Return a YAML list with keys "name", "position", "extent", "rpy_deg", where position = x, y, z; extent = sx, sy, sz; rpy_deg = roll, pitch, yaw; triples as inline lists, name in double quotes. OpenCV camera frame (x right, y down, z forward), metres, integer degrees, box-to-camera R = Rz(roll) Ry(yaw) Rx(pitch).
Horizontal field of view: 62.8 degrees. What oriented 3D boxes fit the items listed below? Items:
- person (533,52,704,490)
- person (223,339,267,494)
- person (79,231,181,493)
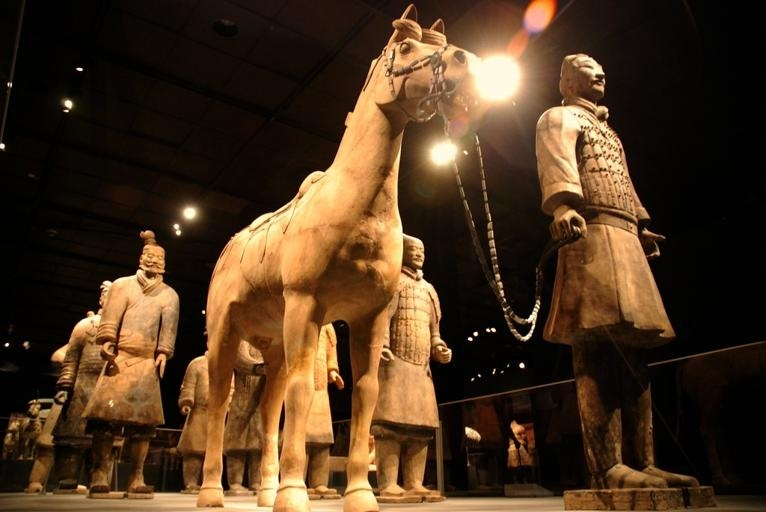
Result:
- name: "person"
  position: [1.774, 0.030, 5.038]
  extent: [0.913, 3.414, 1.303]
  rpy_deg: [-12, -31, 25]
- name: "person"
  position: [-1.721, 2.033, 7.986]
  extent: [0.612, 2.025, 0.454]
  rpy_deg: [7, -44, -21]
- name: "person"
  position: [-2.754, 1.155, 7.009]
  extent: [0.858, 2.888, 0.887]
  rpy_deg: [10, -29, -14]
